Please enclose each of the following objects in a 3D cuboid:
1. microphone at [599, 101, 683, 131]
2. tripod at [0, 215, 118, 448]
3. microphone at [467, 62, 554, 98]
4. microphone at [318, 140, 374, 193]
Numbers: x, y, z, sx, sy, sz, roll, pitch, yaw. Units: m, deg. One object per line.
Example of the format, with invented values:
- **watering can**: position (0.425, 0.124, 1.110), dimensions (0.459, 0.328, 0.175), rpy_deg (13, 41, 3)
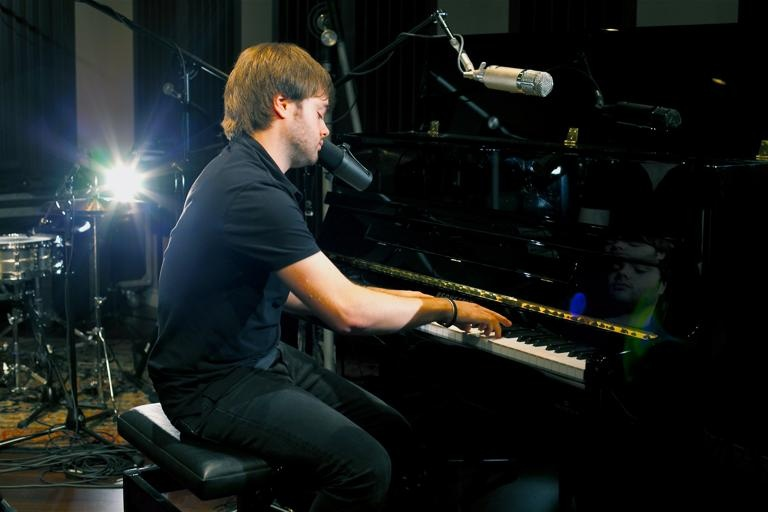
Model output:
- **microphone**: position (1.119, -0.621, 3.067), dimensions (0.111, 0.100, 0.422), rpy_deg (26, -4, -33)
- **tripod**: position (-2.038, 0.408, 4.414), dimensions (0.624, 1.422, 1.134), rpy_deg (2, 3, -20)
- **microphone**: position (0.510, -0.740, 2.816), dimensions (0.474, 0.132, 0.139), rpy_deg (17, 15, 42)
- **microphone**: position (-0.176, -0.458, 3.425), dimensions (0.348, 0.103, 0.145), rpy_deg (38, 0, -36)
